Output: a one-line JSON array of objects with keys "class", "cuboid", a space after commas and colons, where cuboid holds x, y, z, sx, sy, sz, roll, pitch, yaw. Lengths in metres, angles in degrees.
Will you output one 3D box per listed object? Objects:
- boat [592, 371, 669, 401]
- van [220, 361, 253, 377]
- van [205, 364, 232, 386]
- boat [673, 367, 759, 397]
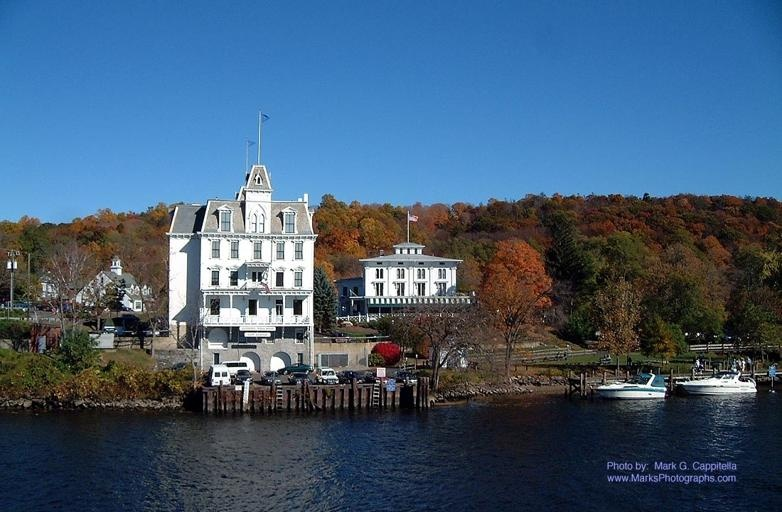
[{"class": "boat", "cuboid": [35.546, 20.319, 162.145, 9.419, 4.024, 4.326, -1, -2, -9]}, {"class": "van", "cuboid": [-22.176, 16.236, 154.400, 3.340, 1.655, 2.143, 3, -3, -5]}, {"class": "van", "cuboid": [-23.956, 16.687, 150.288, 2.021, 1.776, 3.693, 0, 5, -14]}, {"class": "boat", "cuboid": [49.399, 19.338, 167.270, 15.866, 5.458, 4.580, 2, -9, -10]}]
